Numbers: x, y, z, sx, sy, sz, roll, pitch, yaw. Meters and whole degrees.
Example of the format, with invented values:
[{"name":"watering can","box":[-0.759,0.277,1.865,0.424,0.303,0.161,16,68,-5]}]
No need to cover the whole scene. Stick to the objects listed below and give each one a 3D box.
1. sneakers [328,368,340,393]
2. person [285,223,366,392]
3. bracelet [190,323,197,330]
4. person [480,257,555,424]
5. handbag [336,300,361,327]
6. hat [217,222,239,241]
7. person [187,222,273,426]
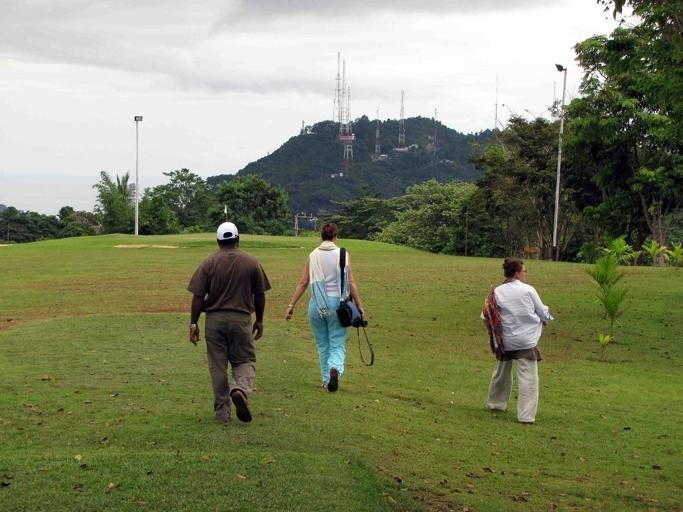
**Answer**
[{"name":"sneakers","box":[-0.157,1.991,10.525,0.150,0.447,0.264,1,5,-11]},{"name":"person","box":[-0.242,0.870,10.715,1.162,2.852,0.865,1,5,-6]},{"name":"bracelet","box":[-2.099,0.991,9.265,0.066,0.053,0.087,-1,-9,0]},{"name":"person","box":[2.806,1.344,10.677,0.968,2.614,0.792,4,5,19]},{"name":"handbag","box":[0.078,0.923,10.399,0.168,0.346,0.352,-21,-2,22]},{"name":"hat","box":[-1.618,-0.346,9.240,0.306,0.269,0.515,-3,12,-7]},{"name":"person","box":[-1.615,0.917,9.330,0.992,2.771,0.823,4,5,19]}]
